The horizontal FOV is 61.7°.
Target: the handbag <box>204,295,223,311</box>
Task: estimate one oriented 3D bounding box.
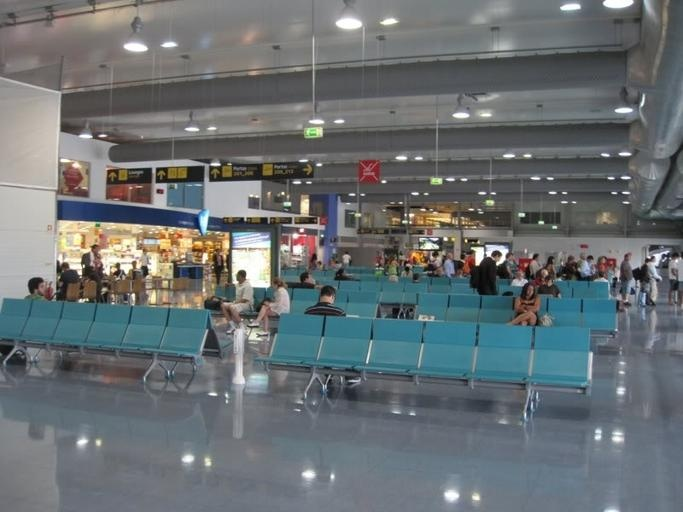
[{"bbox_3d":[-3.059,1.135,13.688,0.517,0.525,0.389,1,-4,-6],"label":"handbag"}]

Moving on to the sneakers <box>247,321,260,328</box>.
[{"bbox_3d":[-1.862,1.449,12.132,0.127,0.139,0.318,6,-5,-37],"label":"sneakers"}]
